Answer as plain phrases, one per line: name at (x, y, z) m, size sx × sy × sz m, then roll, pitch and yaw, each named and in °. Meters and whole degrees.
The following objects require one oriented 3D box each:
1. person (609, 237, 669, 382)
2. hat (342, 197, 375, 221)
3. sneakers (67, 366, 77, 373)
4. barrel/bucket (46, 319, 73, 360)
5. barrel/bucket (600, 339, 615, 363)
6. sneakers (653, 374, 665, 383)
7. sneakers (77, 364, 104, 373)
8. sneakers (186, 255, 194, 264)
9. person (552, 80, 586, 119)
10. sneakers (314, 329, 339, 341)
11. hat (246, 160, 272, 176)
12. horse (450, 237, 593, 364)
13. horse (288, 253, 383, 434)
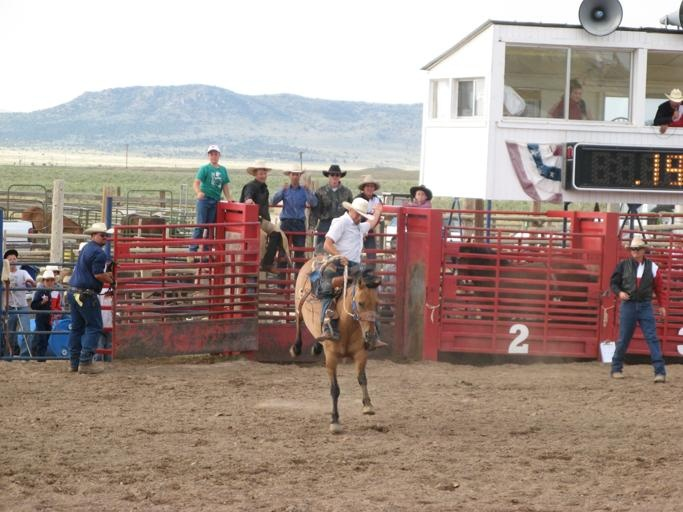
person at (6.024, 1.079, 29.983) m, size 1.116 × 2.904 × 0.638 m, roll 0°, pitch 1°, yaw 10°
hat at (0.358, -0.896, 28.273) m, size 0.484 × 0.202 × 0.439 m, roll 32°, pitch 10°, yaw 16°
sneakers at (-5.369, 2.266, 29.895) m, size 0.150 × 0.112 × 0.152 m, roll 3°, pitch 3°, yaw 16°
barrel/bucket at (-5.869, 1.745, 31.006) m, size 0.661 × 0.625 × 0.625 m, roll 18°, pitch -11°, yaw 4°
barrel/bucket at (5.652, 2.045, 31.480) m, size 0.306 × 0.438 × 0.113 m, roll -2°, pitch -4°, yaw 18°
sneakers at (6.445, 2.461, 29.937) m, size 0.174 × 0.177 × 0.441 m, roll 1°, pitch 1°, yaw 8°
sneakers at (-5.001, 2.263, 29.768) m, size 0.442 × 0.189 × 0.188 m, roll -2°, pitch 2°, yaw -12°
sneakers at (-3.323, 0.069, 32.779) m, size 0.170 × 0.163 × 0.169 m, roll 3°, pitch -3°, yaw -22°
person at (5.315, -3.618, 34.583) m, size 0.816 × 1.089 × 0.336 m, roll 5°, pitch 2°, yaw -29°
sneakers at (-0.236, 1.456, 27.464) m, size 0.163 × 0.193 × 0.447 m, roll 3°, pitch -9°, yaw -17°
hat at (-1.775, -1.891, 32.134) m, size 0.451 × 0.333 × 0.834 m, roll 0°, pitch 1°, yaw -7°
horse at (4.024, 0.919, 32.333) m, size 3.644 × 2.588 × 2.176 m, roll 2°, pitch -12°, yaw 10°
horse at (-0.048, 1.594, 28.097) m, size 1.208 × 3.155 × 2.758 m, roll 0°, pitch 1°, yaw -12°
